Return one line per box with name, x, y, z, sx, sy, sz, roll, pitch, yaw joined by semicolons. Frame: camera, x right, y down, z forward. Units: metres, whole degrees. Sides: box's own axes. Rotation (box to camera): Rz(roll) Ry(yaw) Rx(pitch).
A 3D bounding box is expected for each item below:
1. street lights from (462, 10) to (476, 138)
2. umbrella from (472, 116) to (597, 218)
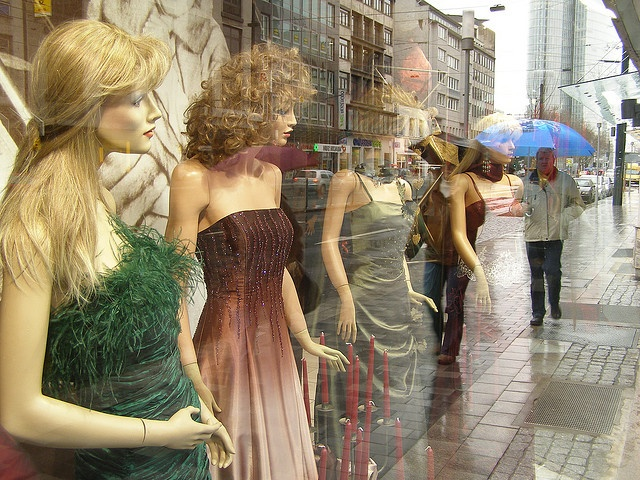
street lights;0.634;-0.710;2.181;0.053;0.514;0.133;1;5;17
umbrella;0.944;-0.375;2.121;0.357;0.281;0.394;-3;-7;14
